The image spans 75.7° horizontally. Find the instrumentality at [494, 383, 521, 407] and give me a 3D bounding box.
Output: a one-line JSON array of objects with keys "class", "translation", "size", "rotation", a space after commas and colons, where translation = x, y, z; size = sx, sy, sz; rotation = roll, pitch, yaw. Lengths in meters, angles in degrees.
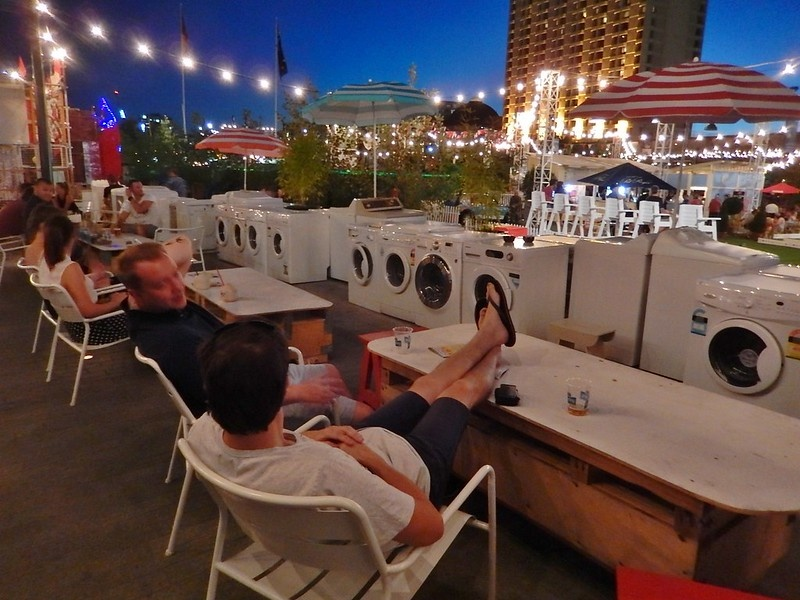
[{"class": "instrumentality", "translation": [0.579, 0.513, 2.779], "size": [0.099, 0.044, 0.122], "rotation": [0, 14, 2]}]

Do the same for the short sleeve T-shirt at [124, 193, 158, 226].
[{"class": "short sleeve T-shirt", "translation": [-4.588, -1.531, 9.150], "size": [0.632, 0.565, 0.546], "rotation": [-4, -2, -21]}]

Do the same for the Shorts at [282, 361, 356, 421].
[{"class": "Shorts", "translation": [-0.444, 0.537, 3.152], "size": [0.494, 0.177, 0.296], "rotation": [10, -25, -26]}]

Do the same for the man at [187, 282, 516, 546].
[{"class": "man", "translation": [-0.007, 0.363, 2.335], "size": [0.726, 0.932, 1.501], "rotation": [10, 24, 30]}]

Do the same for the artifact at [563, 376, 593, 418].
[{"class": "artifact", "translation": [0.952, 0.517, 2.719], "size": [0.162, 0.174, 0.154], "rotation": [5, -3, -18]}]

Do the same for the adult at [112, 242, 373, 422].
[{"class": "adult", "translation": [-0.869, 0.252, 3.285], "size": [1.785, 0.969, 0.835], "rotation": [16, 24, -13]}]

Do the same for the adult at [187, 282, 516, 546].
[{"class": "adult", "translation": [-0.127, 0.315, 2.386], "size": [0.726, 0.932, 1.501], "rotation": [10, 24, 30]}]

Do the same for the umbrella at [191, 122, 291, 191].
[{"class": "umbrella", "translation": [-3.419, -3.346, 11.177], "size": [1.805, 1.184, 1.854], "rotation": [1, 10, -29]}]

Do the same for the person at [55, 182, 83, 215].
[{"class": "person", "translation": [-6.334, -1.930, 9.775], "size": [0.345, 0.555, 1.586], "rotation": [-9, 18, -31]}]

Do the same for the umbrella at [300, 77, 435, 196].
[{"class": "umbrella", "translation": [-0.500, -3.057, 9.284], "size": [1.948, 1.435, 2.205], "rotation": [-7, 17, -28]}]

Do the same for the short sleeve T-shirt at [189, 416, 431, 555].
[{"class": "short sleeve T-shirt", "translation": [-0.314, 0.603, 1.944], "size": [0.849, 0.338, 0.523], "rotation": [22, 7, -2]}]

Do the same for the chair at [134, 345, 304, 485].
[{"class": "chair", "translation": [-1.098, 0.745, 3.158], "size": [0.744, 1.042, 0.678], "rotation": [-11, 15, -33]}]
